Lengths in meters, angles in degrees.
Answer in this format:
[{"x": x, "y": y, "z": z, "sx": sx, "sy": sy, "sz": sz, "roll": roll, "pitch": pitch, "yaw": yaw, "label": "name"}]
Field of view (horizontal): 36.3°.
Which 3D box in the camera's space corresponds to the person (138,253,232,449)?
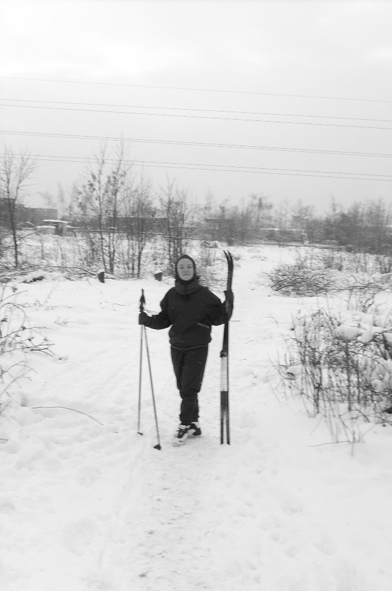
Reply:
[{"x": -0.100, "y": 0.522, "z": 5.901, "sx": 0.861, "sy": 1.825, "sz": 0.624, "roll": -2, "pitch": 10, "yaw": -6, "label": "person"}]
